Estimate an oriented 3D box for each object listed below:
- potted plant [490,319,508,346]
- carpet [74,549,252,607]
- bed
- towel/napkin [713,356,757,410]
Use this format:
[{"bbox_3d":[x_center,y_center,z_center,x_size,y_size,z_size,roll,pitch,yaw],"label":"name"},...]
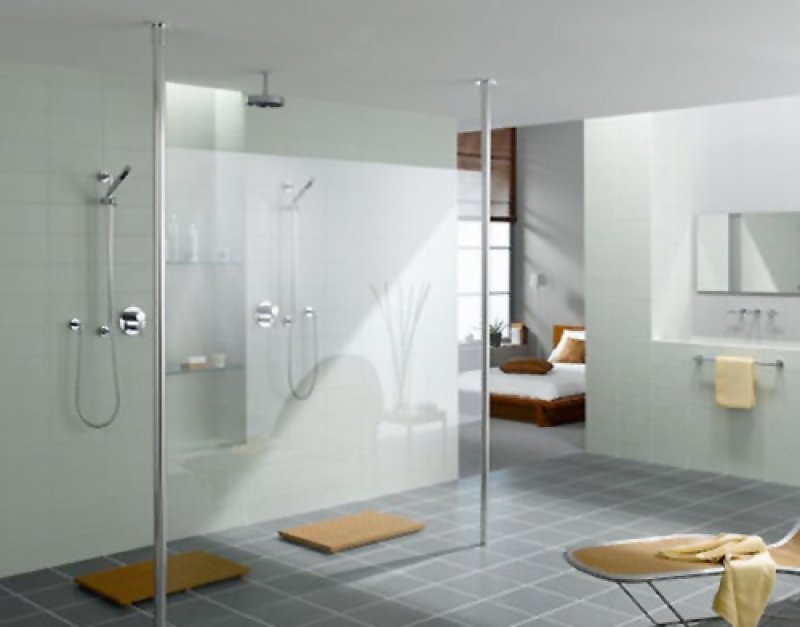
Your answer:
[{"bbox_3d":[1.494,0.281,9.972,0.356,0.360,0.317,-5,-10,45],"label":"potted plant"},{"bbox_3d":[-1.260,1.356,3.552,0.840,0.159,0.392,-1,3,-27],"label":"carpet"},{"bbox_3d":[1.642,0.723,8.000,1.381,0.678,1.401,-10,7,36],"label":"bed"},{"bbox_3d":[2.729,0.551,5.405,0.415,0.546,0.198,-2,-6,41],"label":"towel/napkin"}]
